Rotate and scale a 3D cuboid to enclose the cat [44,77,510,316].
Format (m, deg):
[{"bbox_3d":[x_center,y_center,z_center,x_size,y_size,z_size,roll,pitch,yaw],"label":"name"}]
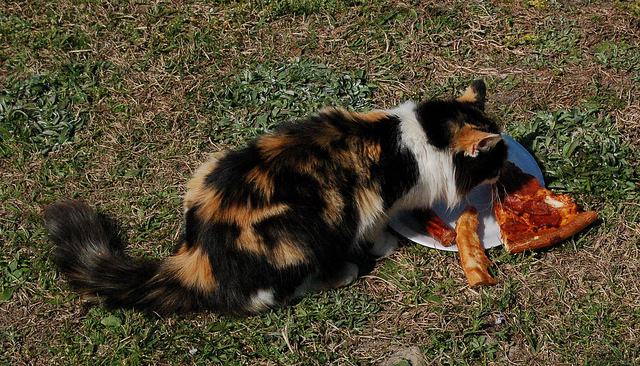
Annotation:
[{"bbox_3d":[-0.355,0.310,6.651,4.921,2.023,1.318,-8,44,-13],"label":"cat"}]

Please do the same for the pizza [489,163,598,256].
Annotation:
[{"bbox_3d":[2.379,0.233,6.965,0.985,0.332,1.313,-31,57,-6],"label":"pizza"}]
